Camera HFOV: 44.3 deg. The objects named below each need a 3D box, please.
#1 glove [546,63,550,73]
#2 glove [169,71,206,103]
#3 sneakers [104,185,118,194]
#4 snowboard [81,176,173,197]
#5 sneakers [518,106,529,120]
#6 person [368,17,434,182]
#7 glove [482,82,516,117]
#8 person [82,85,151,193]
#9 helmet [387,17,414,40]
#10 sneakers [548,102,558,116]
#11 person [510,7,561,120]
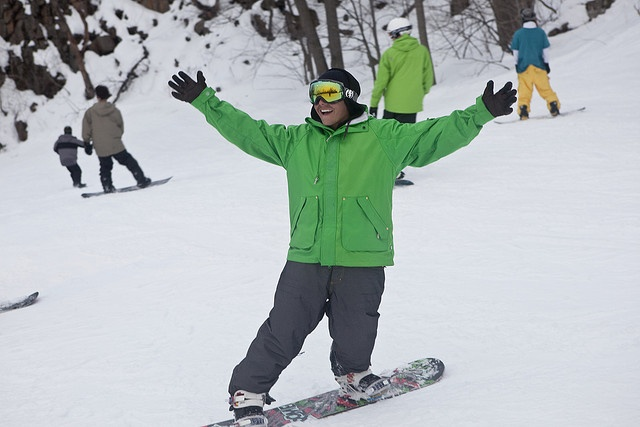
[{"bbox_3d":[3.705,-2.395,12.934,0.040,0.182,0.323,-9,13,20],"label":"glove"},{"bbox_3d":[-1.297,-1.251,7.760,0.339,0.315,0.243,-14,13,-5],"label":"glove"},{"bbox_3d":[-3.478,-0.381,13.049,0.128,0.176,0.191,-4,5,8],"label":"sneakers"},{"bbox_3d":[-3.184,-0.433,13.133,1.228,0.158,0.161,-12,21,-22],"label":"snowboard"},{"bbox_3d":[3.340,-1.663,13.032,0.167,0.197,0.218,0,-1,23],"label":"sneakers"},{"bbox_3d":[1.058,-1.729,11.923,1.041,2.427,0.872,-5,11,-38],"label":"person"},{"bbox_3d":[1.708,-1.107,7.573,0.322,0.352,0.234,-10,14,10],"label":"glove"},{"bbox_3d":[-3.449,-1.213,12.896,0.834,1.760,0.628,-17,14,-13],"label":"person"},{"bbox_3d":[1.171,-2.747,11.653,0.373,0.299,0.315,7,23,35],"label":"helmet"},{"bbox_3d":[3.747,-1.696,12.739,0.154,0.190,0.070,-5,5,32],"label":"sneakers"},{"bbox_3d":[3.428,-2.452,12.939,0.689,1.765,0.674,-9,15,21],"label":"person"}]
